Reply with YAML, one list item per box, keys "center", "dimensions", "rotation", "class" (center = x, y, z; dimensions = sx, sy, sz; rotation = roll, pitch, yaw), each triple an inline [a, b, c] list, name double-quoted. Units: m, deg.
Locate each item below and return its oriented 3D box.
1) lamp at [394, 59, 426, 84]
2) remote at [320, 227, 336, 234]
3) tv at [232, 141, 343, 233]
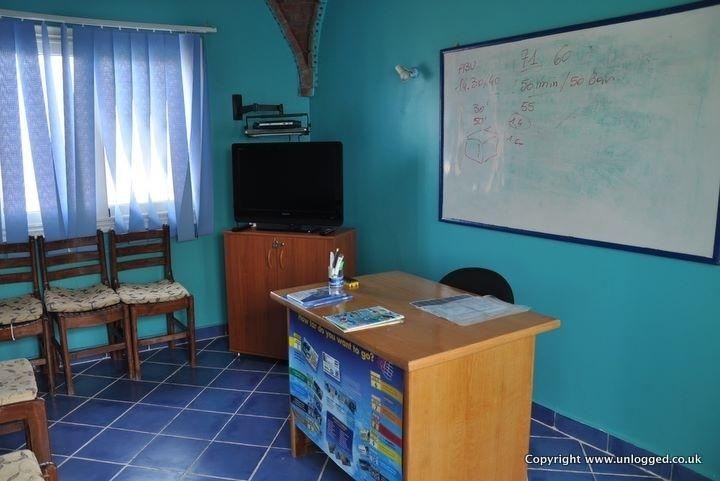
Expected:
- center: [0.411, -1.371, 4.357]
  dimensions: [0.177, 0.192, 0.178]
  rotation: [-2, 31, 1]
  class: "lamp"
- center: [-0.279, -0.083, 4.652]
  dimensions: [0.072, 0.027, 0.091]
  rotation: [4, 17, 23]
  class: "remote"
- center: [-0.596, -0.478, 4.694]
  dimensions: [0.852, 0.582, 0.088]
  rotation: [2, 3, 15]
  class: "tv"
